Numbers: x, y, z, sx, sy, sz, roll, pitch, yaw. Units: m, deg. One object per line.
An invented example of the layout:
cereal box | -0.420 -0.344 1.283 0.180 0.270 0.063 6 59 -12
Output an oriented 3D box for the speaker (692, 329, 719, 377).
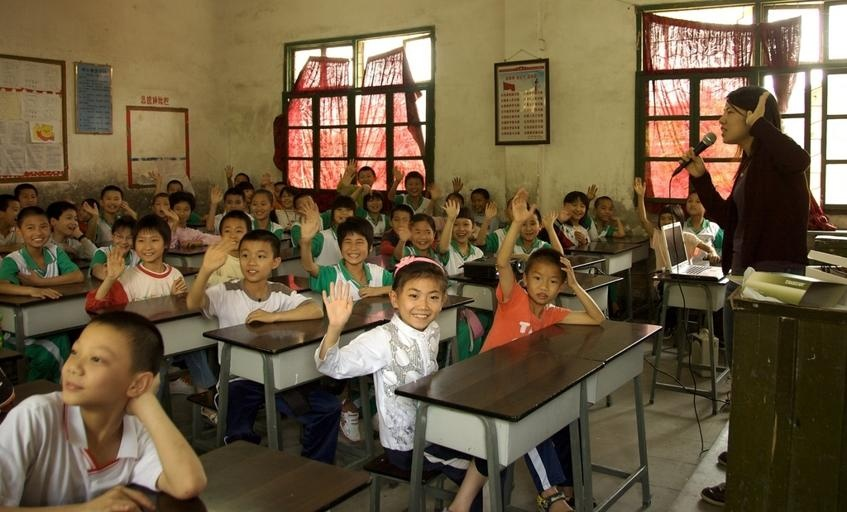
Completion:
speaker | 1.937 0.645 4.189 0.151 0.239 0.138 -5 4 -23

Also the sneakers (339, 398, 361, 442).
sneakers | -0.388 0.880 3.206 0.094 0.155 0.266 2 2 -32

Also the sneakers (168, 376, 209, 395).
sneakers | -1.394 0.771 3.590 0.319 0.100 0.218 -1 -6 -9

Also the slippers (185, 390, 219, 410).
slippers | -1.061 0.697 2.932 0.109 0.035 0.157 -3 9 -45

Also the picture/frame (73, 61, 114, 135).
picture/frame | -3.449 -1.658 6.346 0.448 0.727 0.035 6 9 7

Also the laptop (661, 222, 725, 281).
laptop | 1.808 0.022 3.992 0.343 0.261 0.458 9 1 21
